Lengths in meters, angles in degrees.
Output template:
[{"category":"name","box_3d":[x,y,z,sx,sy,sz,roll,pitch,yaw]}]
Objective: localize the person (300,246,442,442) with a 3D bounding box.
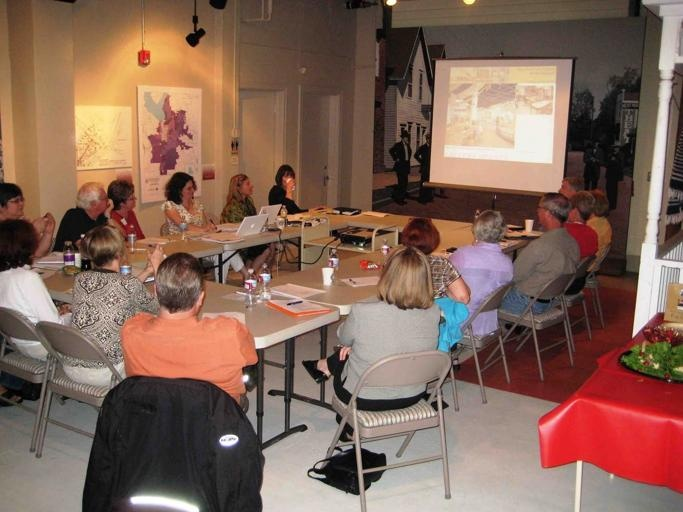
[{"category":"person","box_3d":[0.205,0.571,3.025,0.687,1.224,0.492,1,12,10]}]

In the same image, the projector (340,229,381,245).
[{"category":"projector","box_3d":[0.208,-0.223,6.020,0.246,0.078,0.255,8,16,41]}]

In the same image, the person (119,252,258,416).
[{"category":"person","box_3d":[-0.736,0.374,2.610,0.531,0.742,0.417,4,13,24]}]

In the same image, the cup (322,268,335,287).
[{"category":"cup","box_3d":[-0.108,0.159,4.173,0.118,0.134,0.120,1,9,0]}]

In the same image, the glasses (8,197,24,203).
[{"category":"glasses","box_3d":[-2.865,-0.498,4.743,0.041,0.066,0.147,1,12,11]}]

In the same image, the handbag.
[{"category":"handbag","box_3d":[0.078,1.264,3.230,0.314,0.108,0.302,-9,15,-34]}]

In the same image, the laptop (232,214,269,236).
[{"category":"laptop","box_3d":[-0.974,-0.334,5.790,0.231,0.204,0.331,34,28,23]}]

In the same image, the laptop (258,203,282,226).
[{"category":"laptop","box_3d":[-0.839,-0.500,6.239,0.208,0.192,0.293,21,22,31]}]
